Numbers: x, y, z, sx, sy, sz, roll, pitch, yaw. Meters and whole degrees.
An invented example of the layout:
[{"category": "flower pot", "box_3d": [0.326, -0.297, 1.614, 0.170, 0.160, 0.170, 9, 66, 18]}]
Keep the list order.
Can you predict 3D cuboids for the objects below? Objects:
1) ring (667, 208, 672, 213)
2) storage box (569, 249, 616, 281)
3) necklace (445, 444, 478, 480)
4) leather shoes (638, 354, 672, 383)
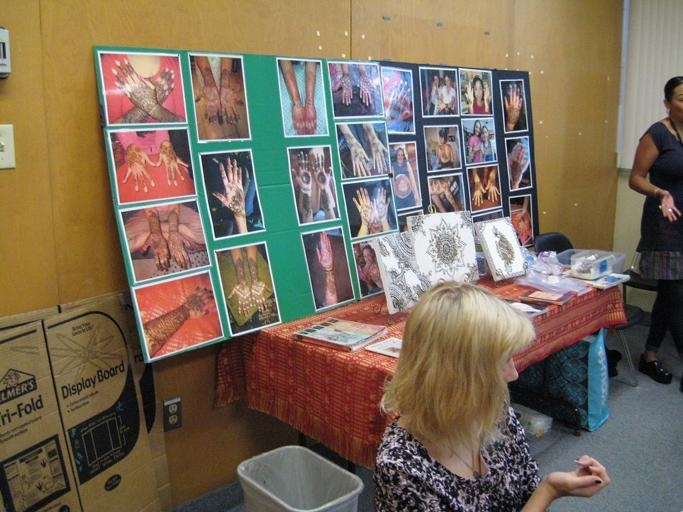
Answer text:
[{"category": "ring", "box_3d": [2.182, -0.304, 3.253, 0.023, 0.027, 0.006, 1, 3, 8]}, {"category": "storage box", "box_3d": [1.619, 0.041, 3.146, 0.173, 0.149, 0.290, 3, 6, 39]}, {"category": "necklace", "box_3d": [0.336, 0.581, 1.373, 0.093, 0.101, 0.027, 21, -19, -40]}, {"category": "leather shoes", "box_3d": [2.359, 0.859, 3.741, 0.089, 0.129, 0.274, -6, 10, -16]}]
